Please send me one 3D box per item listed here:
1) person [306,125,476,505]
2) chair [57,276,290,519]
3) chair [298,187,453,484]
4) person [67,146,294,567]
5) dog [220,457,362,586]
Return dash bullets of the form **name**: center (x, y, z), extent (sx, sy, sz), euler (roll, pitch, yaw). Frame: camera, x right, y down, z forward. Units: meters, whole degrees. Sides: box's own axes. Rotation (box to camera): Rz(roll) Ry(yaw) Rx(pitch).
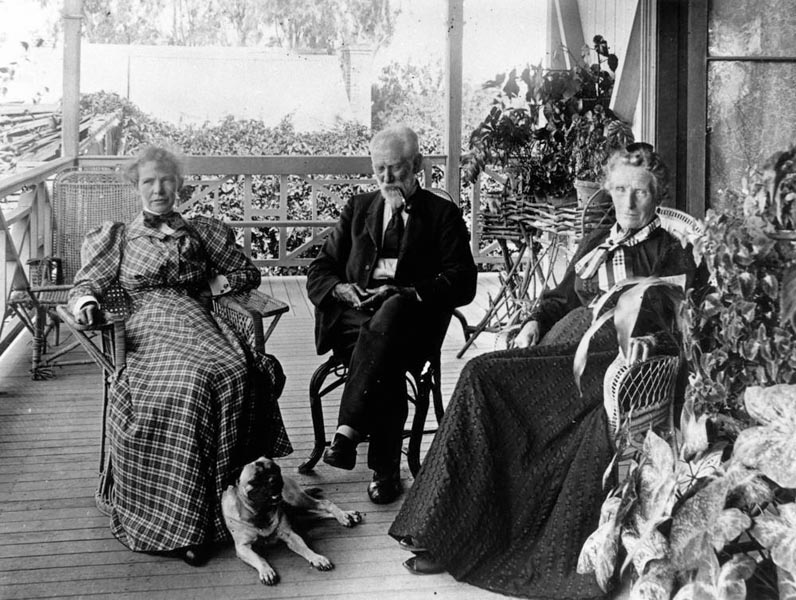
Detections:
- **person**: center (-0.083, -0.047, 3.235), extent (0.575, 1.612, 0.653), euler (6, 16, 10)
- **chair**: center (-0.868, 0.150, 3.414), extent (0.917, 1.130, 0.729), euler (-3, 6, -23)
- **chair**: center (-0.074, 0.241, 3.482), extent (0.532, 1.266, 0.559), euler (7, 16, 15)
- **person**: center (-0.812, 0.127, 3.097), extent (0.751, 1.327, 0.944), euler (-5, 13, -24)
- **dog**: center (-0.385, 0.692, 2.978), extent (0.432, 0.380, 0.814), euler (-8, 8, 5)
